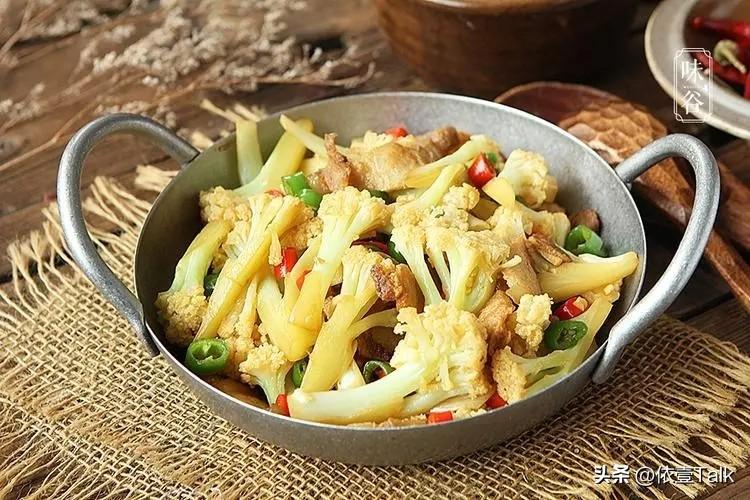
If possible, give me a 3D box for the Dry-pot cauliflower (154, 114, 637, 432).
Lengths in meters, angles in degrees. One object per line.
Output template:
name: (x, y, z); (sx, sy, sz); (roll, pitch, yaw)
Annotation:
Dry-pot cauliflower: (0.056, 0.064, 2.326); (1.526, 0.380, 1.091); (0, 63, 8)
